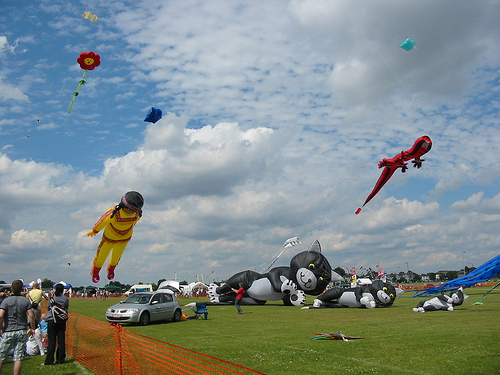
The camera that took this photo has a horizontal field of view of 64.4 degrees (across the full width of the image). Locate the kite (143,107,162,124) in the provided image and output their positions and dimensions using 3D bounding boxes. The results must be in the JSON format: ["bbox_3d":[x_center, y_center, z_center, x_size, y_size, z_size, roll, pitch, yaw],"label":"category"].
[{"bbox_3d":[-5.351,-3.866,22.021,0.646,0.612,1.130,7,-19,-24],"label":"kite"}]

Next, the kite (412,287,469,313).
[{"bbox_3d":[11.491,6.983,23.628,3.622,1.271,1.469,-8,-3,2],"label":"kite"}]

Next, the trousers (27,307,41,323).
[{"bbox_3d":[-7.475,4.445,13.837,0.273,0.466,1.114,8,-19,-26],"label":"trousers"}]

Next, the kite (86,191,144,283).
[{"bbox_3d":[-8.337,3.261,24.535,3.419,6.592,1.633,8,25,-31],"label":"kite"}]

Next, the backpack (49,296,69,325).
[{"bbox_3d":[-5.845,3.744,12.090,0.548,0.832,0.372,8,-20,-25],"label":"backpack"}]

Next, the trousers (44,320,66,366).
[{"bbox_3d":[-5.935,4.704,12.103,0.542,1.266,0.520,0,-18,-3],"label":"trousers"}]

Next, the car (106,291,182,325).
[{"bbox_3d":[-5.314,5.959,19.996,1.827,1.072,3.103,-10,-19,23],"label":"car"}]

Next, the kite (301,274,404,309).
[{"bbox_3d":[7.181,7.545,27.647,4.933,1.535,3.011,-7,-6,26],"label":"kite"}]

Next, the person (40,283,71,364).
[{"bbox_3d":[-6.031,4.243,12.324,0.800,2.380,0.735,5,-11,-33],"label":"person"}]

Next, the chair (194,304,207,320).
[{"bbox_3d":[-2.783,7.094,22.858,0.807,0.931,0.735,2,-11,-3],"label":"chair"}]

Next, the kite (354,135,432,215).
[{"bbox_3d":[6.042,-1.055,15.529,1.409,3.821,0.993,52,-8,-32],"label":"kite"}]
